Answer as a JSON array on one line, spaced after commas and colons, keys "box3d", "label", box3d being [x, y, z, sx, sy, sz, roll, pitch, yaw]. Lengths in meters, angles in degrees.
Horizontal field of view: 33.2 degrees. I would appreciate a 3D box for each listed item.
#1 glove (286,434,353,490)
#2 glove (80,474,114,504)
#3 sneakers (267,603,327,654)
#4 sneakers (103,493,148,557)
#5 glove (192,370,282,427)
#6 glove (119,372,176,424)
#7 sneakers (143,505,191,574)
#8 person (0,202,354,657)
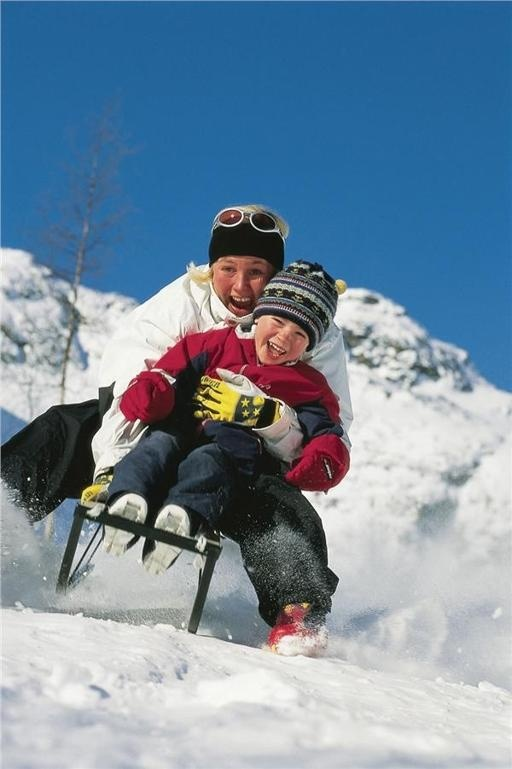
[{"box3d": [0.231, 0.282, 3.127, 0.206, 0.218, 0.268, 8, -5, 9], "label": "glove"}, {"box3d": [-0.539, 0.363, 2.927, 0.093, 0.042, 0.137, -2, 15, 4], "label": "glove"}, {"box3d": [0.143, 0.807, 2.882, 0.186, 0.128, 0.231, 2, 4, -2], "label": "sneakers"}, {"box3d": [-0.404, 0.421, 2.678, 0.098, 0.229, 0.095, 13, 21, -8], "label": "sneakers"}, {"box3d": [-0.093, 0.060, 3.127, 0.325, 0.172, 0.124, 8, 2, 23], "label": "glove"}, {"box3d": [-0.397, 0.038, 3.085, 0.192, 0.133, 0.202, 6, -5, 18], "label": "glove"}, {"box3d": [-0.273, 0.479, 2.657, 0.129, 0.145, 0.130, 9, -5, -5], "label": "sneakers"}, {"box3d": [-0.185, 0.145, 3.795, 1.291, 1.986, 0.733, 20, -41, 7], "label": "person"}]
